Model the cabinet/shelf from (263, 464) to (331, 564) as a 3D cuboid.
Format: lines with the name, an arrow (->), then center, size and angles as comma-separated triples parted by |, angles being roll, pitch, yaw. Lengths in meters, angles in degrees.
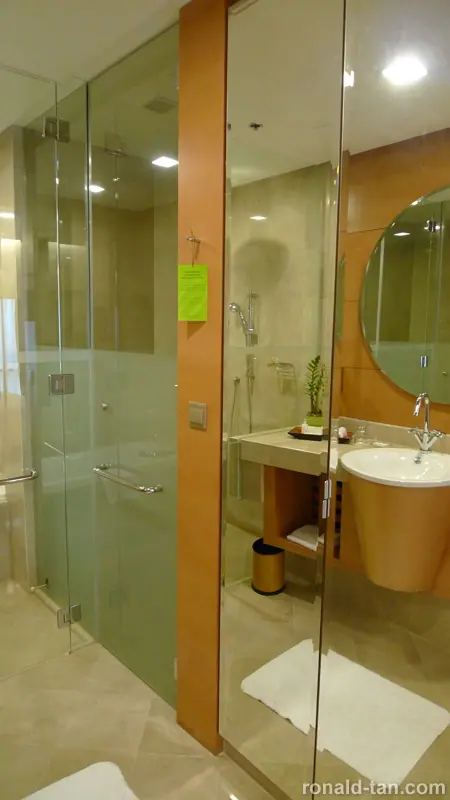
cabinet/shelf -> 0.156, 0.254, 1.433 | 0.166, 0.279, 0.169 | 9, 11, 39

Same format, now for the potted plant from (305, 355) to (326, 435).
potted plant -> 0.210, -0.011, 1.283 | 0.026, 0.182, 0.084 | -2, 6, -18
